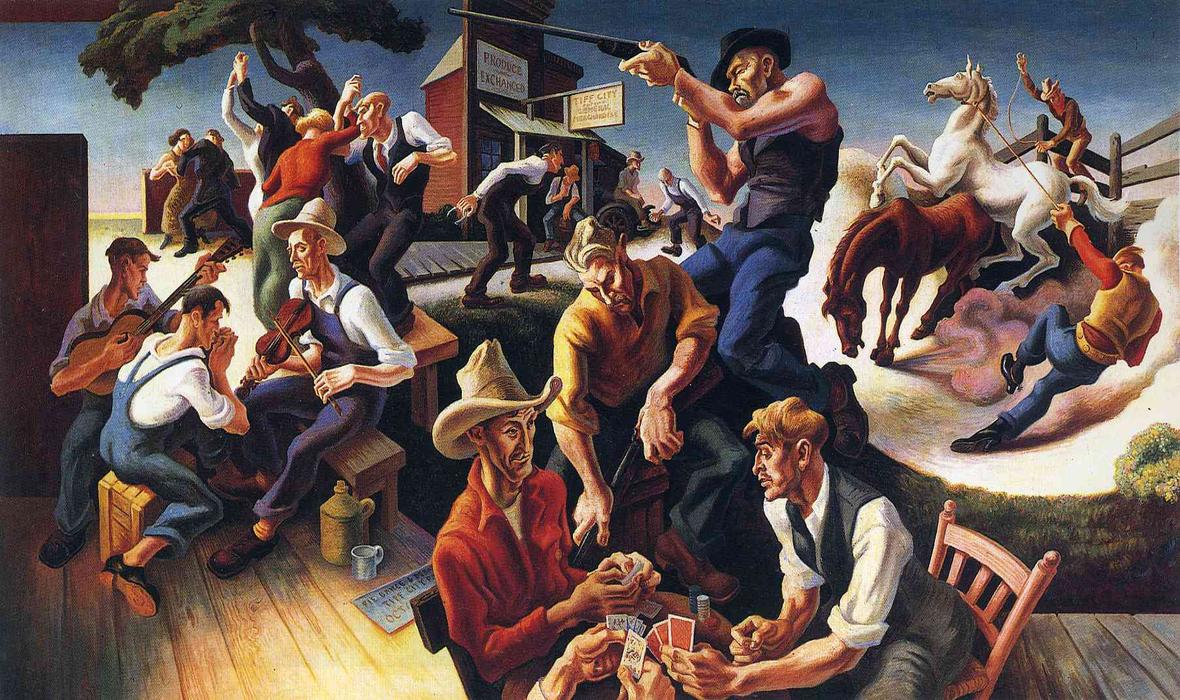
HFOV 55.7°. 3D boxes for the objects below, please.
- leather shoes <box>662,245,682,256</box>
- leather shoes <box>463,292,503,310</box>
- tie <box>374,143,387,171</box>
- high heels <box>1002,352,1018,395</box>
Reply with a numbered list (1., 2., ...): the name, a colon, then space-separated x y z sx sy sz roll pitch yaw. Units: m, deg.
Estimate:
1. leather shoes: 0.800 -0.967 10.821 0.239 0.092 0.077 11 0 -1
2. leather shoes: -0.986 -0.467 10.704 0.428 0.175 0.137 0 -11 -2
3. tie: -2.015 -1.872 10.795 0.072 0.320 0.086 -6 -1 5
4. high heels: 4.089 0.221 10.959 0.199 0.348 0.132 -6 9 -10
